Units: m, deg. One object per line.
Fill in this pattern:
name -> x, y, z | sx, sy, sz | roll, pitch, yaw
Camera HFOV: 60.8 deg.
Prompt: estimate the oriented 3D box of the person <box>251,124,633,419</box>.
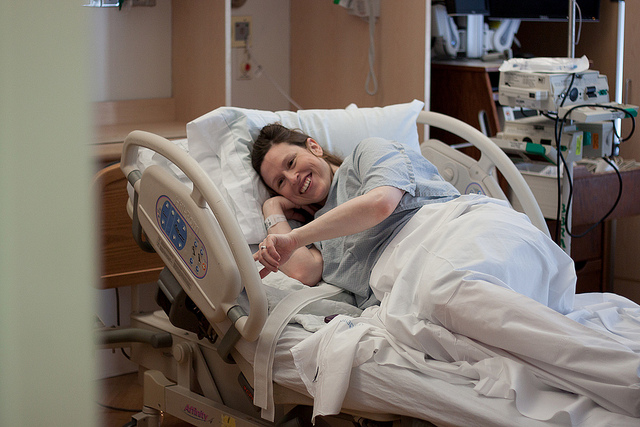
person -> 0.260, 0.102, 1.522 | 1.010, 0.269, 0.562 | 25, 29, 37
